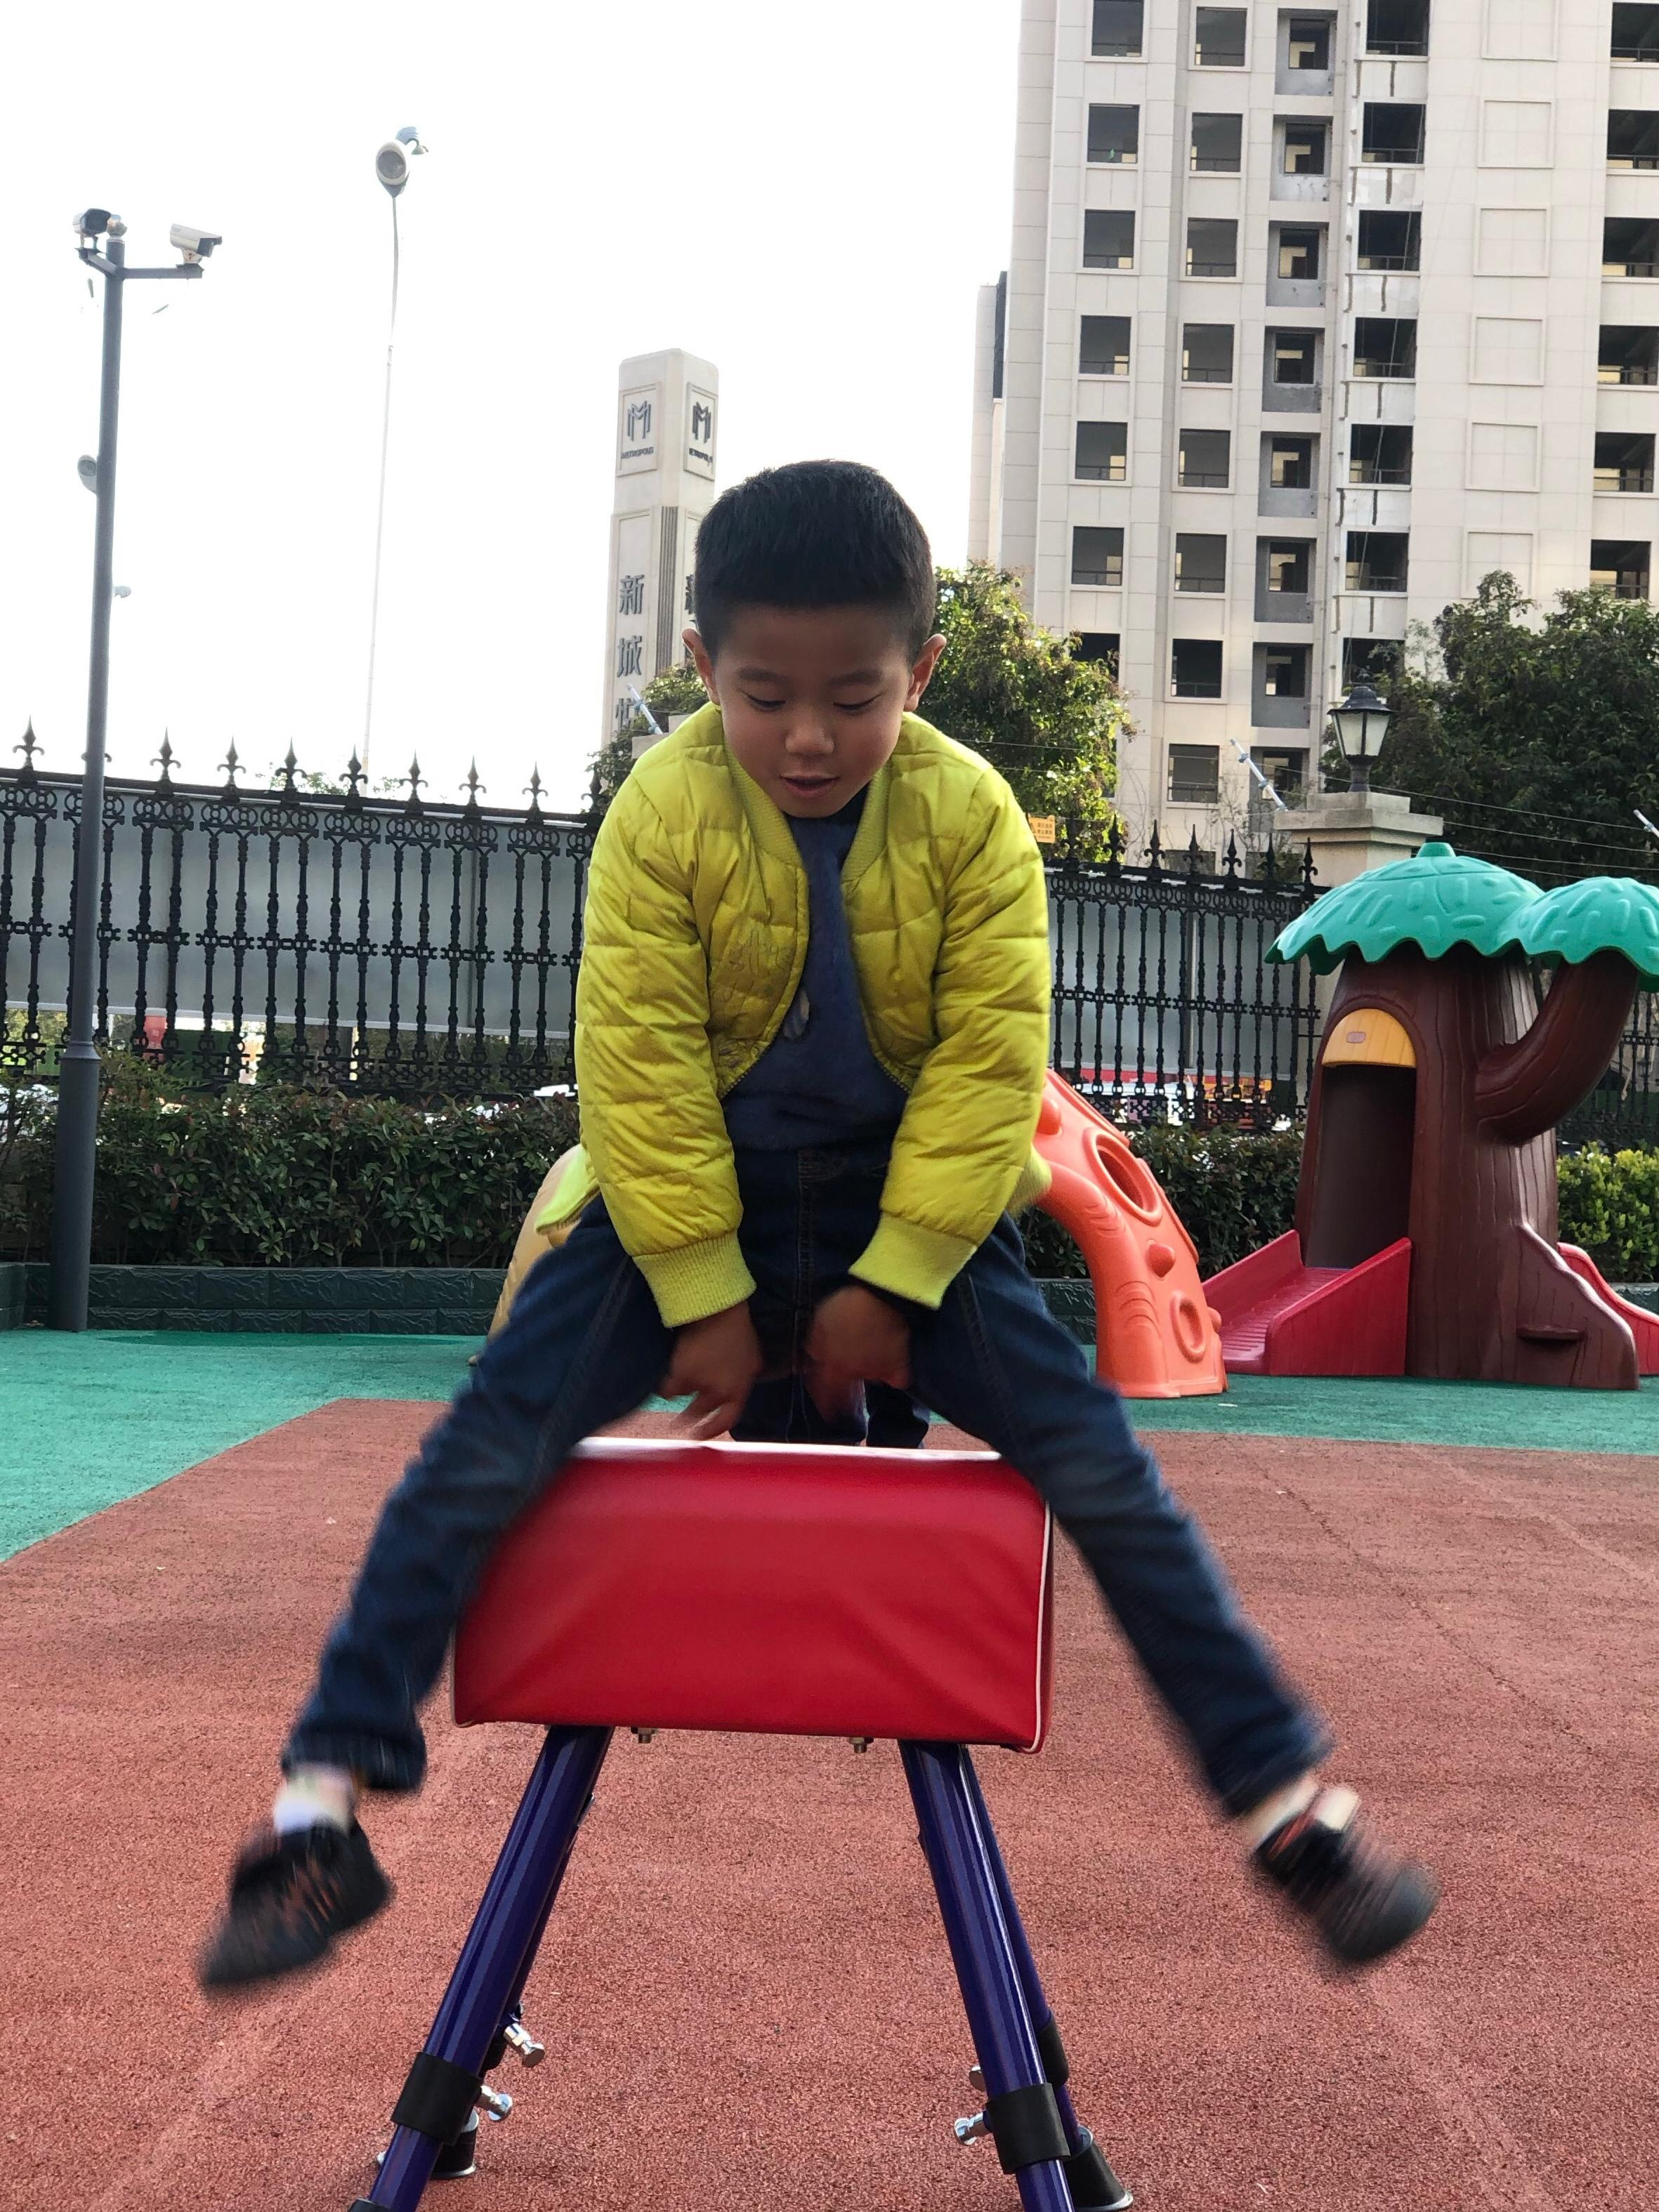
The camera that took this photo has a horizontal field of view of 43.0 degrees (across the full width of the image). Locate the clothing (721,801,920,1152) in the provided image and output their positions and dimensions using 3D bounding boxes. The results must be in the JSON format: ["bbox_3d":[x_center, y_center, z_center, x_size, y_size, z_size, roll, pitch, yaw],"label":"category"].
[{"bbox_3d":[-0.007,-0.099,1.606,0.188,0.237,0.084,0,-2,-3],"label":"clothing"}]

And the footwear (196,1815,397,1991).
[{"bbox_3d":[-0.360,0.539,1.444,0.072,0.050,0.126,-8,11,33],"label":"footwear"}]

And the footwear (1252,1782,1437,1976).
[{"bbox_3d":[0.378,0.565,1.549,0.137,0.086,0.063,46,1,31],"label":"footwear"}]

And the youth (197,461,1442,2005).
[{"bbox_3d":[-0.016,0.043,1.657,0.932,1.029,0.671,-3,10,-7],"label":"youth"}]
